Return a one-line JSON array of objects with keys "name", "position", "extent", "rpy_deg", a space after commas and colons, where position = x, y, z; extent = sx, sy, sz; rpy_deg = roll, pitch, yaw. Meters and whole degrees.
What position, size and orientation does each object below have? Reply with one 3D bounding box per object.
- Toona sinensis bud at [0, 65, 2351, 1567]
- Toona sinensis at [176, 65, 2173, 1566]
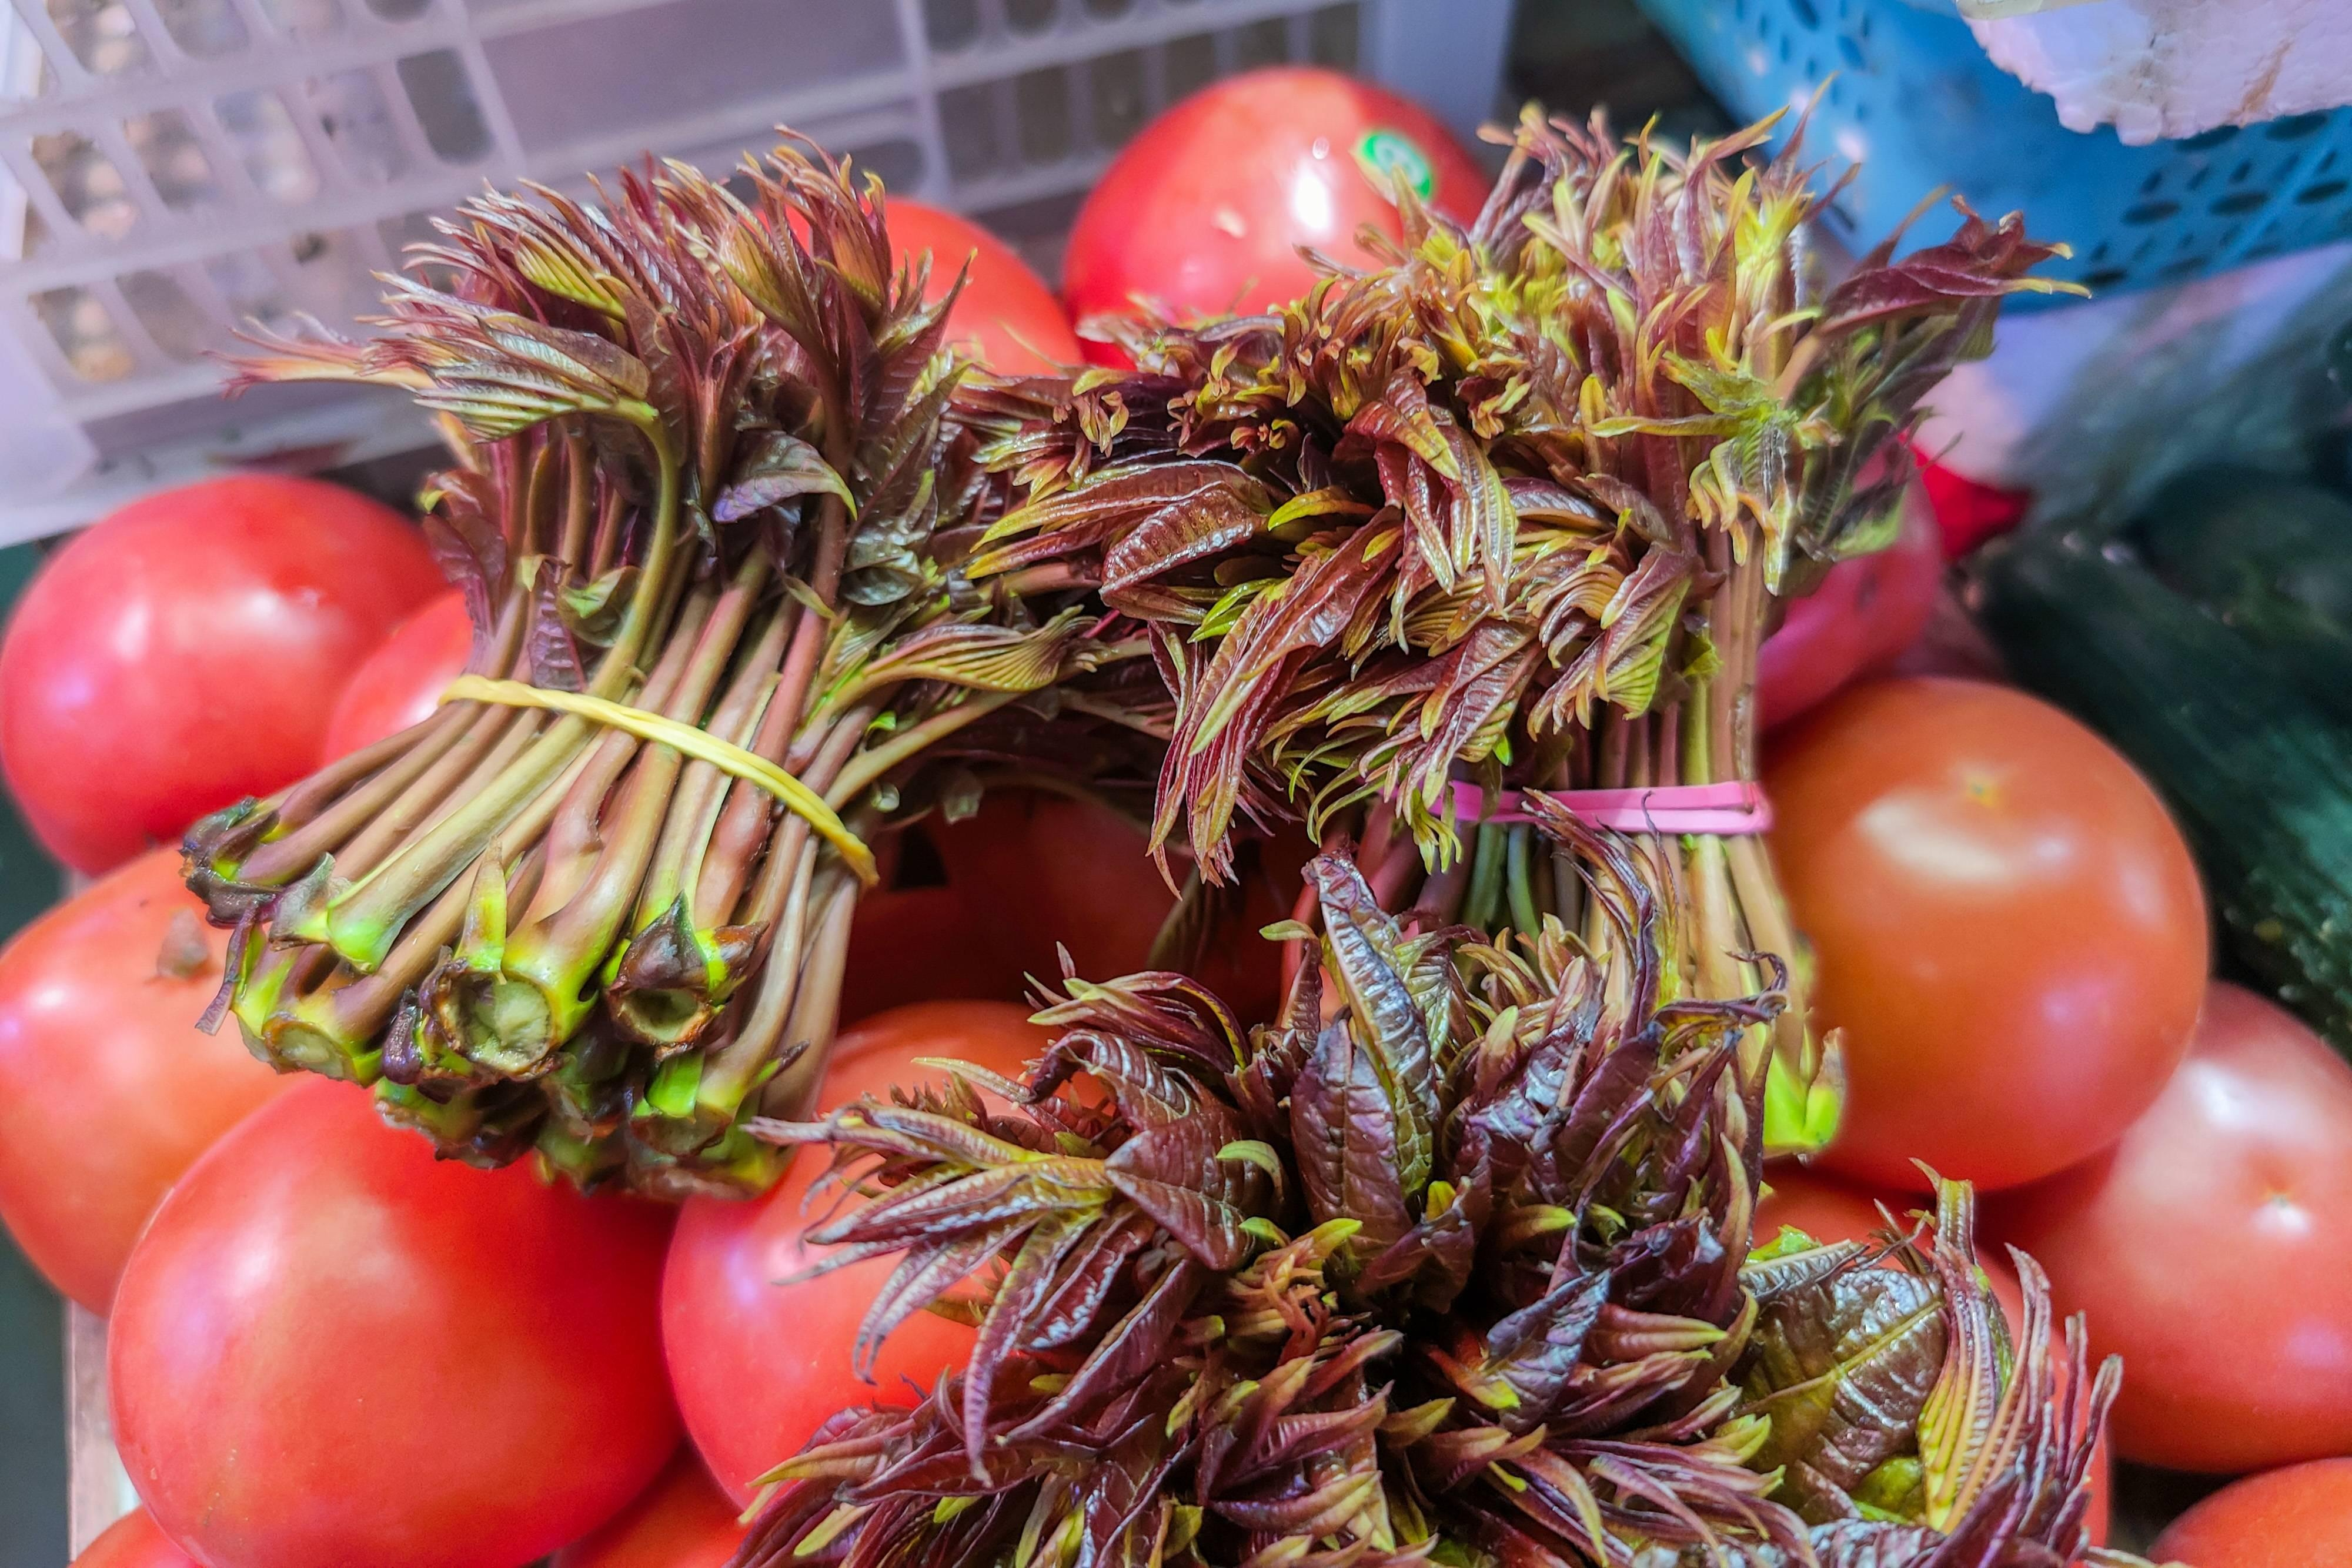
[{"name": "Toona sinensis bud", "position": [0.027, -0.004, 1.077], "extent": [0.789, 0.414, 0.792], "rpy_deg": [-42, 91, 3]}, {"name": "Toona sinensis", "position": [-0.022, 0.046, 1.058], "extent": [0.756, 0.521, 0.763], "rpy_deg": [3, 83, -2]}]
